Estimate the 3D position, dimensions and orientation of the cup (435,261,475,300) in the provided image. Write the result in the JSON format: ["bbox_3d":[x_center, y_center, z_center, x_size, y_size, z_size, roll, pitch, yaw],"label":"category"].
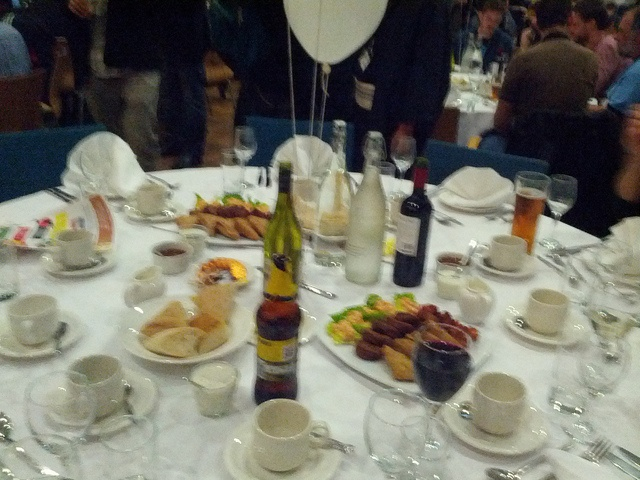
[{"bbox_3d":[0.375,0.116,1.429,0.088,0.090,0.095,1,16,0],"label":"cup"}]

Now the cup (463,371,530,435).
[{"bbox_3d":[0.353,0.324,1.008,0.089,0.085,0.118,7,25,19],"label":"cup"}]

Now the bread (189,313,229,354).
[{"bbox_3d":[-0.252,0.219,1.143,0.077,0.026,0.078,19,60,3],"label":"bread"}]

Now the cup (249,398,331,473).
[{"bbox_3d":[-0.057,0.362,0.966,0.095,0.087,0.131,27,31,22],"label":"cup"}]

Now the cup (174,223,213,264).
[{"bbox_3d":[-0.387,0.005,1.566,0.086,0.092,0.098,2,14,3],"label":"cup"}]

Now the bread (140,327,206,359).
[{"bbox_3d":[-0.324,0.225,1.108,0.089,0.018,0.072,3,34,-2],"label":"bread"}]

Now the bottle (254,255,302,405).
[{"bbox_3d":[-0.086,0.190,1.002,0.087,0.306,0.065,0,25,-3],"label":"bottle"}]

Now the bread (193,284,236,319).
[{"bbox_3d":[-0.257,0.151,1.237,0.080,0.023,0.082,1,46,13],"label":"bread"}]

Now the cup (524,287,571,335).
[{"bbox_3d":[0.581,0.186,1.301,0.099,0.091,0.107,3,15,-1],"label":"cup"}]

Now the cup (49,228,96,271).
[{"bbox_3d":[-0.695,0.021,1.451,0.119,0.102,0.092,-7,22,-38],"label":"cup"}]

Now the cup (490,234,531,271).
[{"bbox_3d":[0.587,0.040,1.577,0.089,0.087,0.122,0,14,3],"label":"cup"}]

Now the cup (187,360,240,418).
[{"bbox_3d":[-0.214,0.304,1.040,0.097,0.074,0.093,2,25,-1],"label":"cup"}]

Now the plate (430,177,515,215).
[{"bbox_3d":[0.604,-0.200,2.042,0.202,0.087,0.201,-19,29,-19],"label":"plate"}]

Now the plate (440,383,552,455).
[{"bbox_3d":[0.342,0.365,0.998,0.124,0.022,0.124,25,37,35],"label":"plate"}]

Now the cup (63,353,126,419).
[{"bbox_3d":[-0.435,0.281,1.004,0.093,0.083,0.116,1,30,-7],"label":"cup"}]

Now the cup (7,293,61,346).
[{"bbox_3d":[-0.648,0.187,1.155,0.104,0.093,0.115,0,13,0],"label":"cup"}]

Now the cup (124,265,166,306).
[{"bbox_3d":[-0.451,0.136,1.354,0.075,0.094,0.100,31,50,15],"label":"cup"}]

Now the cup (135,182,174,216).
[{"bbox_3d":[-0.595,-0.154,1.846,0.108,0.080,0.102,1,22,0],"label":"cup"}]
